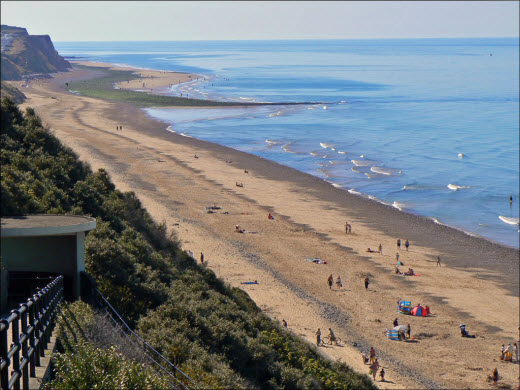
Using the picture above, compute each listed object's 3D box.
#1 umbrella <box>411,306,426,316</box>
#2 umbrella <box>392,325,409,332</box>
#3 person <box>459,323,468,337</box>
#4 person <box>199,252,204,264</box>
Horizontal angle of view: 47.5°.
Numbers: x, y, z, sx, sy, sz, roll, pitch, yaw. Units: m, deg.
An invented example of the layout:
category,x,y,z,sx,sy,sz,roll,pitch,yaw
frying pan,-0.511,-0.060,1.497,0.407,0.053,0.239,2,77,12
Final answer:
category,x,y,z,sx,sy,sz,roll,pitch,yaw
umbrella,9.296,6.887,34.484,0.648,0.279,0.624,3,17,17
umbrella,7.748,7.318,32.185,0.431,0.163,0.618,10,12,43
person,11.186,7.506,32.635,0.631,0.765,0.606,3,-2,29
person,-3.779,4.133,38.389,0.364,0.985,0.471,-6,14,-3
